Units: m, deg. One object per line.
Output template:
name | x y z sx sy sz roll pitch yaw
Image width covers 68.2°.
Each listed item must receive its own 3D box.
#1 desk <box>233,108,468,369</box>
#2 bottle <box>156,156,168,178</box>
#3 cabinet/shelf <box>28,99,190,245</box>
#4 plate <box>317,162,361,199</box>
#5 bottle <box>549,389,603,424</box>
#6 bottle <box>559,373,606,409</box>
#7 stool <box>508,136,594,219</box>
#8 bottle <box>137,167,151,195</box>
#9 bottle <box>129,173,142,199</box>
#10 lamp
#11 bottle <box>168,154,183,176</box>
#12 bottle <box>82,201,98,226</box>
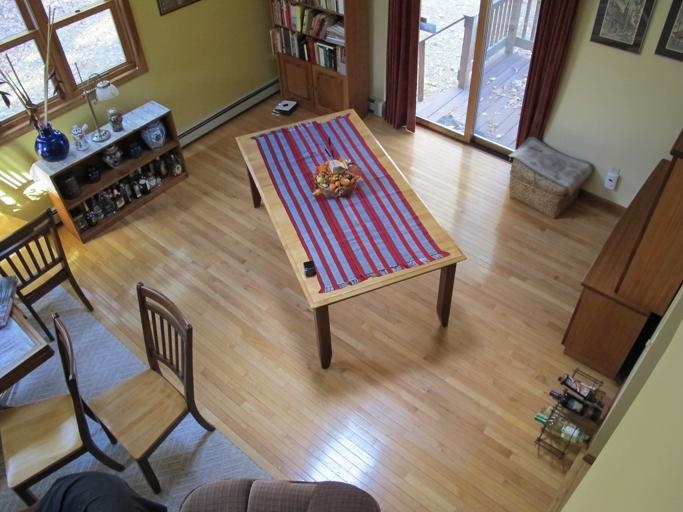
desk | -0.086 -0.283 4.752 1.338 1.010 2.226 -14 49 -16
bottle | -1.971 -0.989 5.534 0.125 0.216 0.078 -30 65 -19
cabinet/shelf | -2.374 -0.822 5.046 1.500 0.927 0.438 -39 64 -20
plate | -0.035 -0.611 4.348 0.416 0.176 0.431 7 28 15
bottle | 1.684 1.078 3.649 0.362 0.149 0.116 19 49 20
bottle | 1.783 1.031 3.814 0.277 0.352 0.091 19 80 10
stool | 2.028 -0.780 5.301 0.795 0.537 0.679 34 62 26
bottle | -2.115 -0.806 5.401 0.131 0.241 0.139 4 55 -5
bottle | -2.189 -0.757 5.357 0.075 0.218 0.138 -18 60 -19
lamp | -2.439 -1.531 5.011 0.398 0.809 0.233 -20 71 -12
bottle | -1.834 -1.012 5.605 0.144 0.208 0.066 12 11 30
bottle | -2.540 -0.438 5.101 0.122 0.212 0.115 2 52 -3
